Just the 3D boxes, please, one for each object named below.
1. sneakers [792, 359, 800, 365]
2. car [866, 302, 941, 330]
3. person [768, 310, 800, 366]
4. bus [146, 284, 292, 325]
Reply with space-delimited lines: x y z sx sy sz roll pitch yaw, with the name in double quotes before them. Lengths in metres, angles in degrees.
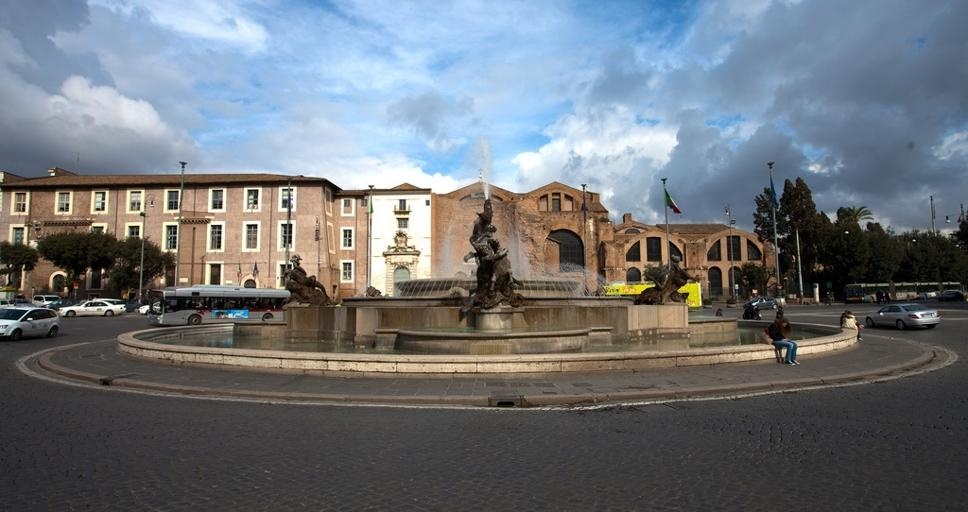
"sneakers" 13.631 4.631 27.719 0.501 0.166 0.165 1 -4 -36
"car" 26.111 3.770 39.655 1.605 1.484 3.305 1 -5 -30
"person" 13.207 3.710 28.151 1.212 2.069 1.356 -4 -5 22
"bus" -19.527 3.673 46.837 11.375 2.510 3.258 7 -11 -42
